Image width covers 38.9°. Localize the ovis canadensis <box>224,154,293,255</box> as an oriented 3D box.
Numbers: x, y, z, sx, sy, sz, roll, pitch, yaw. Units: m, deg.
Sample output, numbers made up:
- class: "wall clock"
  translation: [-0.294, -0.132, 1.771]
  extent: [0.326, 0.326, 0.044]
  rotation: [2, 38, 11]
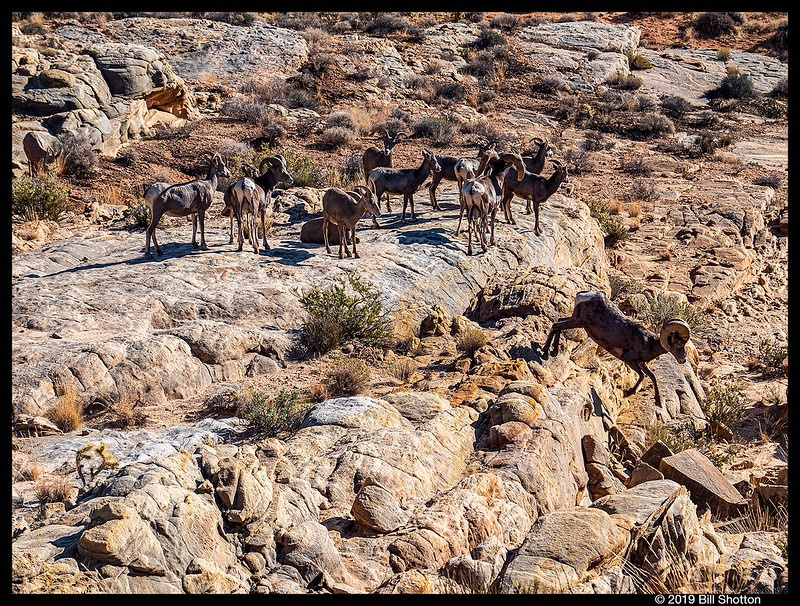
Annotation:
- class: "ovis canadensis"
  translation: [-3.435, -2.458, 27.560]
  extent: [1.451, 2.153, 2.237]
  rotation: [1, 11, -1]
